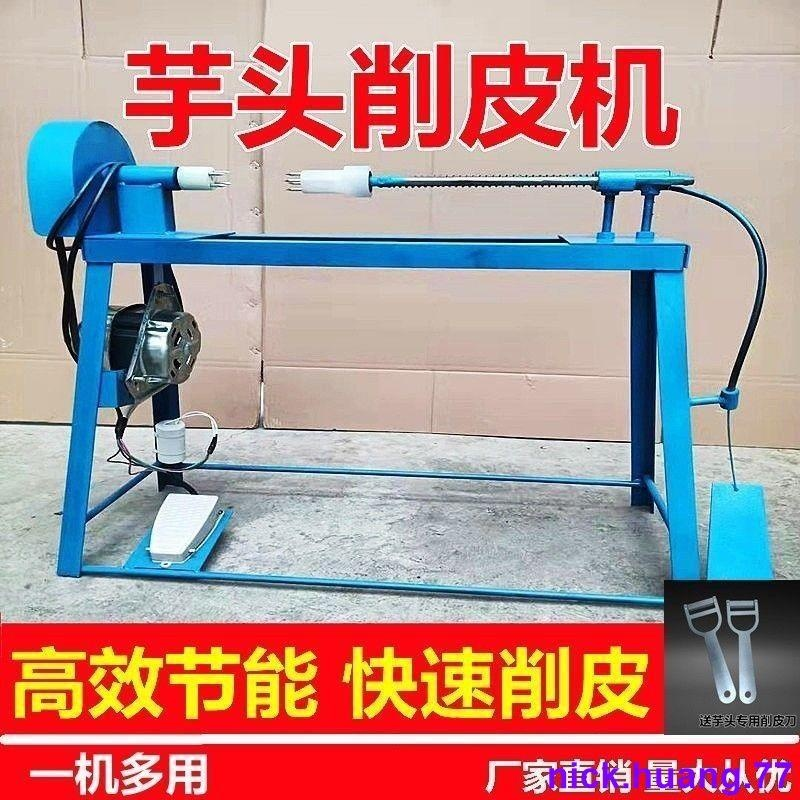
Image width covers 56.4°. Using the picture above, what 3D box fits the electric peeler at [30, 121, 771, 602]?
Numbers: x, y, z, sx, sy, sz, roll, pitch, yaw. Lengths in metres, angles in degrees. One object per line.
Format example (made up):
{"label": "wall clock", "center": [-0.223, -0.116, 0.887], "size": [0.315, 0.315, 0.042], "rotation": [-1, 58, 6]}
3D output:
{"label": "electric peeler", "center": [-0.011, -0.123, 1.756], "size": [1.604, 1.010, 0.619], "rotation": [2, 9, 7]}
